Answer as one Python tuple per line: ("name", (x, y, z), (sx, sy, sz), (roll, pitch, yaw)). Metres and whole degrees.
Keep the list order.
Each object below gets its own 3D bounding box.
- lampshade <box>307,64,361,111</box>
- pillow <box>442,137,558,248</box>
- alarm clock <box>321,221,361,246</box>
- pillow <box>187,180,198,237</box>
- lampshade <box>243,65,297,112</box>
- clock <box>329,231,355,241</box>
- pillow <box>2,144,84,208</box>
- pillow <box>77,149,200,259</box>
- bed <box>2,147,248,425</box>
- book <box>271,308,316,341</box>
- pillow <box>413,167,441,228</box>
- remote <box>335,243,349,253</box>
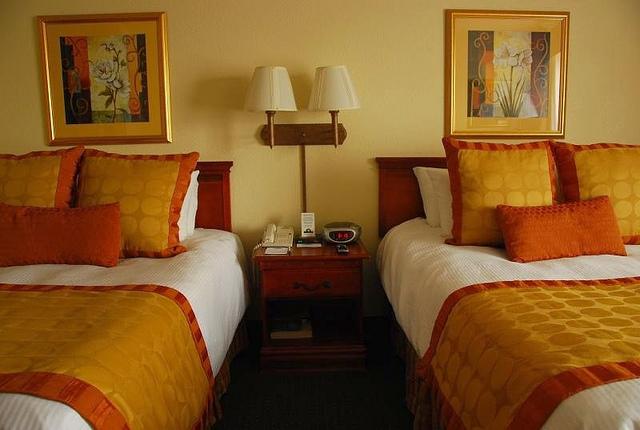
("lampshade", (0.090, -0.895, 3.385), (0.400, 0.328, 0.472), (1, 8, 33))
("pillow", (1.176, -0.131, 3.024), (0.706, 0.722, 0.283), (0, 2, 6))
("alarm clock", (0.151, 0.139, 3.354), (0.250, 0.157, 0.138), (1, 6, -3))
("pillow", (-0.930, -0.024, 3.382), (0.089, 0.287, 0.192), (4, -5, -13))
("lampshade", (-0.364, -0.857, 3.400), (0.422, 0.359, 0.428), (-3, 1, -8))
("clock", (0.148, 0.150, 3.294), (0.164, 0.067, 0.015), (1, 6, 0))
("pillow", (-1.849, -0.243, 3.125), (0.428, 0.405, 0.157), (-4, -7, -5))
("pillow", (-1.261, -0.061, 3.158), (0.843, 0.809, 0.441), (-3, -2, 10))
("bed", (-1.101, 0.381, 2.558), (1.358, 0.945, 1.370), (0, 10, -3))
("book", (-0.198, 0.792, 3.326), (0.306, 0.130, 0.270), (0, 6, -7))
("pillow", (0.866, -0.128, 3.546), (0.124, 0.486, 0.494), (-9, -12, 23))
("remote", (0.155, 0.234, 3.202), (0.078, 0.035, 0.116), (1, 6, 0))
